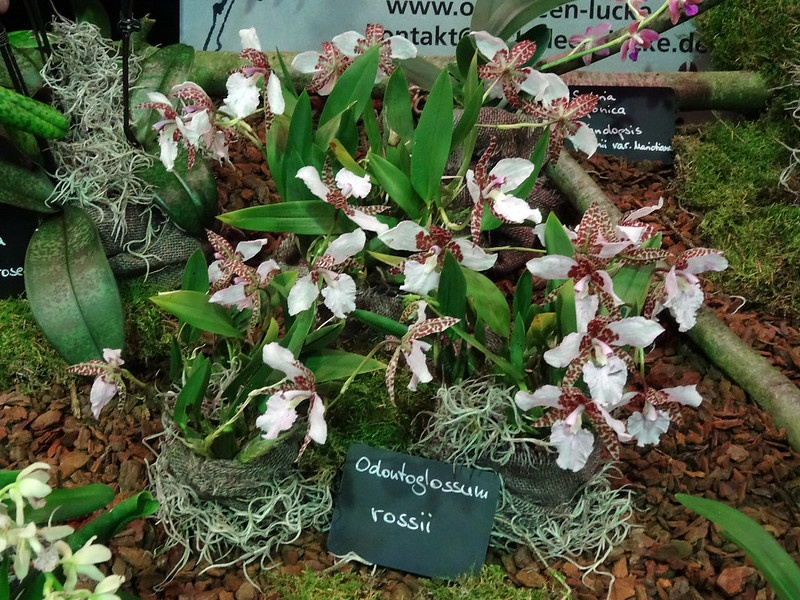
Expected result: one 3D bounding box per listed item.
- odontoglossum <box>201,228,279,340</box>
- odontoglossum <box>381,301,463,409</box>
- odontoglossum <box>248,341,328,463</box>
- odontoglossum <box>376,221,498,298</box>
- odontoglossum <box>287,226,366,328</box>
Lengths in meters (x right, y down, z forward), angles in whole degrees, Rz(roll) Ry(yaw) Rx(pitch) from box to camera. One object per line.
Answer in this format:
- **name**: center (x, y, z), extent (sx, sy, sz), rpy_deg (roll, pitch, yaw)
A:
- **odontoglossum**: center (-0.312, -0.037, 1.236), extent (0.154, 0.214, 0.151), rpy_deg (18, 28, 38)
- **odontoglossum**: center (0.040, 0.089, 1.168), extent (0.148, 0.197, 0.122), rpy_deg (-4, 21, -9)
- **odontoglossum**: center (-0.174, 0.197, 1.080), extent (0.128, 0.198, 0.138), rpy_deg (-10, 27, -23)
- **odontoglossum**: center (0.054, -0.083, 1.048), extent (0.215, 0.133, 0.104), rpy_deg (10, 26, 11)
- **odontoglossum**: center (-0.129, -0.042, 1.077), extent (0.136, 0.120, 0.110), rpy_deg (-3, 50, -3)
